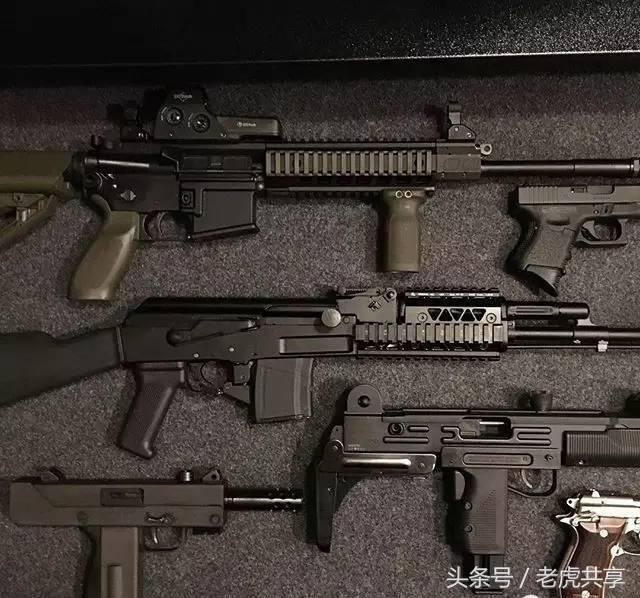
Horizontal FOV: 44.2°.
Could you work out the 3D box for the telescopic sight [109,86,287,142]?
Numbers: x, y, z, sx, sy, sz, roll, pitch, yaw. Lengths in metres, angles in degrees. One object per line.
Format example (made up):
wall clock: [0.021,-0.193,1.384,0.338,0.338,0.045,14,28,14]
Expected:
telescopic sight: [-0.395,-0.584,2.527,0.513,0.111,0.176,-4,90,-11]
